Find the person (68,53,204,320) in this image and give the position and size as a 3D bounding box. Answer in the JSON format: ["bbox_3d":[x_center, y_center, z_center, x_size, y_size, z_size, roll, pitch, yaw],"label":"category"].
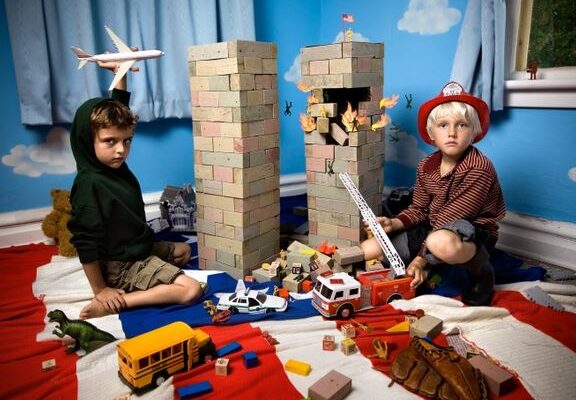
[{"bbox_3d":[-0.832,-0.084,2.358,0.867,1.359,0.839,19,21,37],"label":"person"}]

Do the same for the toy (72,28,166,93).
[{"bbox_3d":[-1.003,-0.857,2.448,0.583,0.169,0.495,-4,16,11],"label":"toy"}]

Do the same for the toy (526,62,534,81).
[{"bbox_3d":[1.665,-0.878,2.772,0.049,0.124,0.191,6,18,29],"label":"toy"}]
